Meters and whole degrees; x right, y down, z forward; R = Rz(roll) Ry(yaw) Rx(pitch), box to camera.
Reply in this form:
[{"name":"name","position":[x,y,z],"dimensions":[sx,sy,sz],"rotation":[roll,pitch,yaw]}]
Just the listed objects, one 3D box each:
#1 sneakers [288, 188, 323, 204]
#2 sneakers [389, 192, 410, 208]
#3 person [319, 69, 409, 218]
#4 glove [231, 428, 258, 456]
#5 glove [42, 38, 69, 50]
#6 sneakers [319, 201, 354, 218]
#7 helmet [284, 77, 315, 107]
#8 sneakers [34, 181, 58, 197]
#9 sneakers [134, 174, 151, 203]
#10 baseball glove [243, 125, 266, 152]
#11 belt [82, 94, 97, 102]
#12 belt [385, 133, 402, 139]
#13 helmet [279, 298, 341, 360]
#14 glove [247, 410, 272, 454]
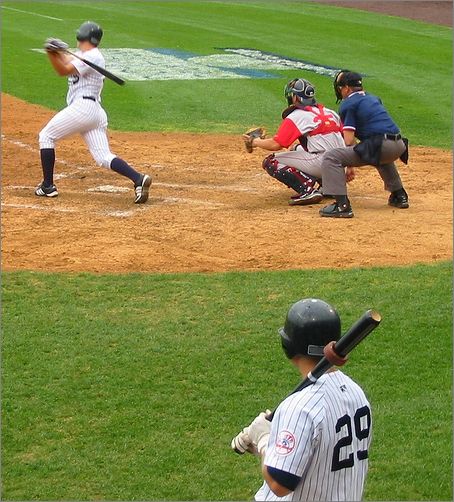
[{"name":"sneakers","position":[0.995,-0.671,7.361],"dimensions":[0.531,0.181,0.157],"rotation":[-6,-6,-6]},{"name":"sneakers","position":[2.065,-0.623,7.106],"dimensions":[0.154,0.173,0.264],"rotation":[-2,24,-5]},{"name":"person","position":[1.635,-1.237,6.845],"dimensions":[1.023,1.685,0.729],"rotation":[4,16,3]},{"name":"glove","position":[0.053,0.615,1.946],"dimensions":[0.051,0.060,0.139],"rotation":[33,8,-4]},{"name":"glove","position":[-1.980,-2.402,6.832],"dimensions":[0.258,0.162,0.323],"rotation":[-1,13,-14]},{"name":"sneakers","position":[1.221,-0.478,6.800],"dimensions":[0.399,0.218,0.167],"rotation":[5,13,21]},{"name":"helmet","position":[0.888,-1.977,7.298],"dimensions":[0.401,0.347,0.300],"rotation":[8,16,21]},{"name":"sneakers","position":[-2.249,-0.783,7.444],"dimensions":[0.357,0.147,0.118],"rotation":[13,40,24]},{"name":"sneakers","position":[-1.044,-0.763,7.271],"dimensions":[0.187,0.377,0.252],"rotation":[0,15,-9]},{"name":"baseball glove","position":[0.345,-1.438,7.390],"dimensions":[0.389,0.140,0.342],"rotation":[0,31,8]},{"name":"belt","position":[-1.685,-1.887,7.245],"dimensions":[0.057,0.074,0.196],"rotation":[13,17,35]},{"name":"belt","position":[1.878,-1.296,6.678],"dimensions":[0.119,0.028,0.102],"rotation":[0,2,-1]},{"name":"helmet","position":[0.246,0.228,1.813],"dimensions":[0.186,0.145,0.186],"rotation":[-1,20,-13]},{"name":"glove","position":[0.071,0.563,1.825],"dimensions":[0.047,0.117,0.093],"rotation":[27,12,-8]}]
